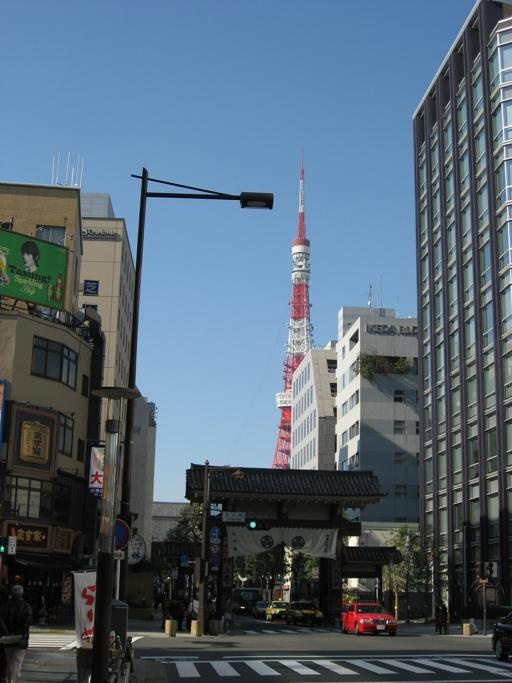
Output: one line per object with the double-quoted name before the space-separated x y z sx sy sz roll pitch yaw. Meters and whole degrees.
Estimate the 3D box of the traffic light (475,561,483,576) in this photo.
"traffic light" 10.032 10.256 40.510 0.322 0.656 1.714 -4 -15 14

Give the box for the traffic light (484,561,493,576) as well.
"traffic light" 10.363 10.189 40.196 0.442 0.677 1.425 -4 -15 15

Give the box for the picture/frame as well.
"picture/frame" -9.942 4.433 39.453 0.384 2.951 3.271 -4 -13 24

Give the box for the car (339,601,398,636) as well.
"car" 4.803 11.870 38.436 1.868 1.236 2.539 1 -15 -5

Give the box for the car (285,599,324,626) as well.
"car" 2.750 15.431 51.052 1.558 1.281 2.906 2 -15 -8
